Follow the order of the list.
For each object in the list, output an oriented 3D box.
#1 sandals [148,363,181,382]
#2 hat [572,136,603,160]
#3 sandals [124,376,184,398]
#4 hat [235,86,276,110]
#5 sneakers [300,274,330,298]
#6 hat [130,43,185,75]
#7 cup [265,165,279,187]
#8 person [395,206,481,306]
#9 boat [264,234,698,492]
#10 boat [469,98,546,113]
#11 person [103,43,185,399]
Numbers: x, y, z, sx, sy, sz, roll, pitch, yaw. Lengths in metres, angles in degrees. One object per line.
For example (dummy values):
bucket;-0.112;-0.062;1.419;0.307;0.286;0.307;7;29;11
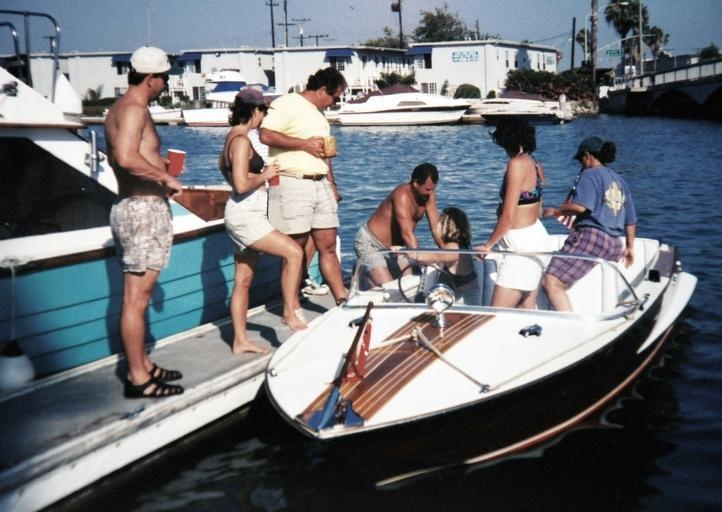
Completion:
sandals;-1.577;0.948;5.822;0.263;0.077;0.110;5;20;5
hat;2.122;-1.025;6.733;0.328;0.197;0.248;-3;8;25
sandals;-1.615;1.030;5.594;0.370;0.134;0.183;-1;8;-12
hat;-0.898;-1.337;6.082;0.335;0.185;0.255;-9;20;-33
sneakers;-0.517;0.354;7.930;0.138;0.177;0.365;2;5;42
hat;-1.532;-1.436;5.292;0.294;0.204;0.453;-4;18;-18
cup;-0.755;-0.669;5.970;0.126;0.160;0.144;1;7;6
person;0.682;0.018;5.826;0.532;0.888;0.527;-1;12;28
boat;0.953;0.708;5.388;1.588;0.995;2.612;9;23;44
boat;7.937;-8.055;38.694;3.484;0.896;1.057;0;11;20
person;-1.624;-0.233;5.504;0.526;2.649;0.701;-4;17;-20
